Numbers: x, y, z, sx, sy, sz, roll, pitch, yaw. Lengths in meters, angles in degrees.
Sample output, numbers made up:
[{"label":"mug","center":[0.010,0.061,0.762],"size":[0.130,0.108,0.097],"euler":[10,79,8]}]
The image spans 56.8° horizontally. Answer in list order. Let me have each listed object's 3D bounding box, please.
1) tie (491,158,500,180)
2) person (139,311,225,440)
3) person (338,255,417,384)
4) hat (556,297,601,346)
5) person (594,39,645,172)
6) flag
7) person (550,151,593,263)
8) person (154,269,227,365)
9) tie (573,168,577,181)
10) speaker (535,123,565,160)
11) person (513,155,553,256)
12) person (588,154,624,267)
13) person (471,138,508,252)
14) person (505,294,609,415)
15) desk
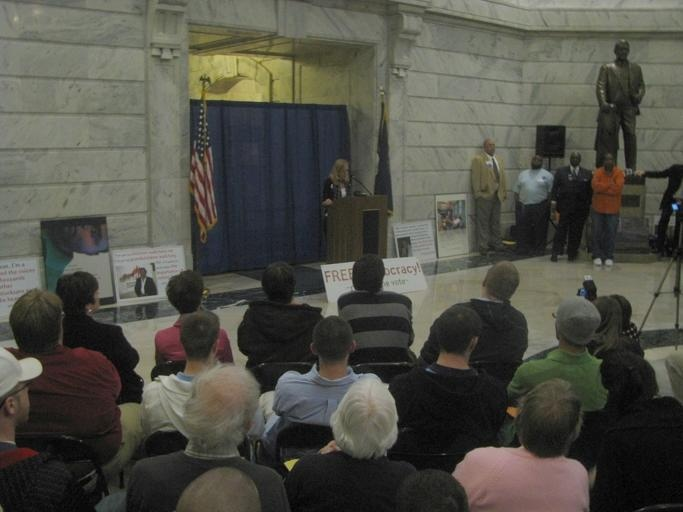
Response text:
[{"label":"tie","center":[2.764,-1.529,11.205],"size":[0.132,0.395,0.104],"euler":[1,8,15]},{"label":"person","center":[-0.762,0.740,3.361],"size":[0.448,0.765,0.411],"euler":[-6,-19,7]},{"label":"person","center":[0.254,0.371,4.459],"size":[0.470,0.833,0.662],"euler":[-7,5,-6]},{"label":"hat","center":[1.291,0.305,3.442],"size":[0.177,0.153,0.279],"euler":[10,37,10]},{"label":"person","center":[4.732,-2.490,10.665],"size":[0.880,2.116,0.493],"euler":[-2,8,-10]},{"label":"flag","center":[-1.829,-1.110,8.236],"size":[0.306,1.800,0.652],"euler":[-3,8,-14]},{"label":"person","center":[3.767,-0.815,10.446],"size":[0.804,1.721,0.376],"euler":[-4,8,-22]},{"label":"person","center":[-1.040,0.558,4.313],"size":[0.479,0.911,0.422],"euler":[0,18,-7]},{"label":"tie","center":[3.838,-1.321,10.320],"size":[0.053,0.207,0.010],"euler":[1,-18,15]},{"label":"speaker","center":[3.895,-2.111,11.706],"size":[0.704,0.781,0.370],"euler":[1,8,-3]},{"label":"person","center":[3.412,-0.843,11.166],"size":[0.628,1.466,0.537],"euler":[2,8,19]},{"label":"person","center":[4.136,-0.715,9.795],"size":[0.434,1.634,0.227],"euler":[2,8,19]},{"label":"person","center":[2.664,-1.057,11.267],"size":[0.576,1.948,0.492],"euler":[-4,8,-24]},{"label":"person","center":[1.248,0.562,3.624],"size":[0.390,0.793,0.398],"euler":[10,23,-8]},{"label":"desk","center":[0.093,-0.409,8.818],"size":[0.664,1.062,0.683],"euler":[21,2,20]}]
